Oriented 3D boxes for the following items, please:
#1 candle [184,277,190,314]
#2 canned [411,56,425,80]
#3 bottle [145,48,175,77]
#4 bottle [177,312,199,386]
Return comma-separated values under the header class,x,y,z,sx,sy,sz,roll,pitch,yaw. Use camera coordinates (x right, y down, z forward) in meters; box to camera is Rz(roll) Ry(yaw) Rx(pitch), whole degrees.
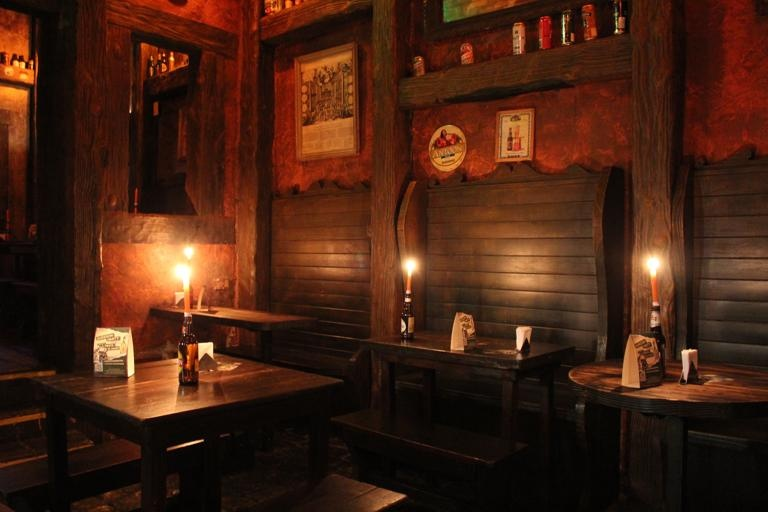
class,x,y,z,sx,sy,sz,roll,pitch,yaw
candle,-1.188,0.239,3.480,0.030,0.235,0.176,1,-4,-16
canned,0.310,-1.657,5.076,0.098,0.248,0.194,1,-4,-6
bottle,-2.845,-2.435,7.336,0.375,0.411,0.156,1,-4,-5
bottle,-1.192,0.565,3.542,0.120,0.439,0.306,2,-4,-18
